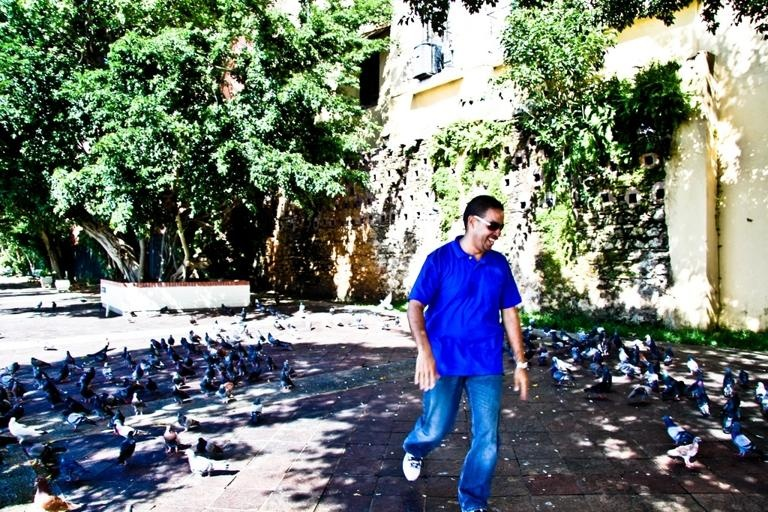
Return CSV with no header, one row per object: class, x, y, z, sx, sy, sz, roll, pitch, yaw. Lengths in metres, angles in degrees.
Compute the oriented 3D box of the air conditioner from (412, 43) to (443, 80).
air conditioner,1.485,-7.587,20.597,1.051,1.087,0.622,2,6,36
